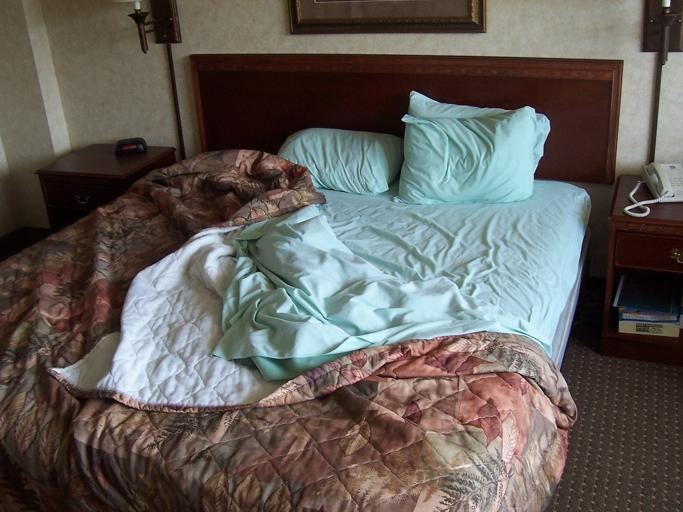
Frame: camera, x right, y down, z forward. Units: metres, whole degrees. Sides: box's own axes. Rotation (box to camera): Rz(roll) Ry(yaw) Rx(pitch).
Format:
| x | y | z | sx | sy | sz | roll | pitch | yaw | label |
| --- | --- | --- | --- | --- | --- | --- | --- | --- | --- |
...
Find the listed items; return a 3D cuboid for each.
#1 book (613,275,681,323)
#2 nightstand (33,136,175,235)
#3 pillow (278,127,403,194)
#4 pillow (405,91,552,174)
| x | y | z | sx | sy | sz | roll | pitch | yaw | label |
| --- | --- | --- | --- | --- | --- | --- | --- | --- | --- |
| 1.445 | 0.198 | 2.493 | 0.238 | 0.055 | 0.236 | 5 | 32 | 18 | book |
| -1.453 | -0.346 | 3.604 | 0.739 | 0.698 | 0.603 | 10 | 40 | 15 | nightstand |
| -0.012 | -0.576 | 3.249 | 0.547 | 0.267 | 0.850 | 1 | -9 | 16 | pillow |
| 0.846 | -0.695 | 3.021 | 0.598 | 0.201 | 0.778 | 5 | -8 | 35 | pillow |
